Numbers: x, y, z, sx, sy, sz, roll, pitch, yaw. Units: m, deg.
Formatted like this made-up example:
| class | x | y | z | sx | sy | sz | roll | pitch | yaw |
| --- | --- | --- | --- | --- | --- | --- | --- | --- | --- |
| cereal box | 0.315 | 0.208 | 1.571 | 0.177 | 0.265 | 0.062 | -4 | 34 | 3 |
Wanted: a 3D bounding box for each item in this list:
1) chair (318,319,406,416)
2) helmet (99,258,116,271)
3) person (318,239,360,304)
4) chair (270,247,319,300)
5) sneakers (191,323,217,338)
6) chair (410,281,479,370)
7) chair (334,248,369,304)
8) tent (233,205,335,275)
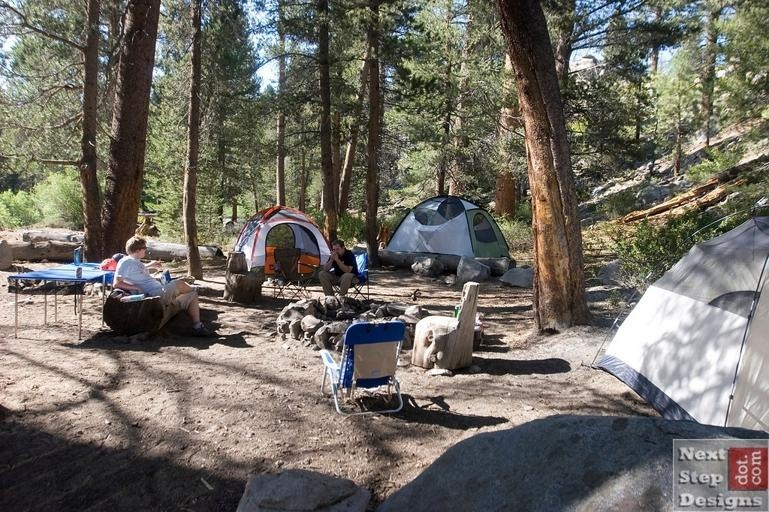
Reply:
| class | x | y | z | sx | sy | sz | roll | pitch | yaw |
| --- | --- | --- | --- | --- | --- | --- | --- | --- | --- |
| chair | -0.348 | 1.500 | 8.495 | 0.996 | 1.361 | 1.730 | 2 | 4 | -18 |
| helmet | -4.713 | 0.166 | 9.774 | 0.160 | 0.139 | 0.238 | 7 | 15 | 3 |
| person | -0.953 | 0.253 | 12.213 | 0.654 | 1.136 | 0.724 | 1 | -1 | 41 |
| chair | -1.953 | 0.416 | 12.373 | 0.771 | 1.052 | 0.701 | -9 | 15 | -34 |
| sneakers | -3.038 | 1.286 | 9.820 | 0.484 | 0.245 | 0.179 | 1 | 2 | -4 |
| chair | 0.994 | 1.100 | 9.373 | 1.008 | 1.346 | 0.834 | 4 | 5 | 27 |
| chair | -0.592 | 0.429 | 12.181 | 0.497 | 0.898 | 0.620 | -2 | 20 | -22 |
| tent | -2.840 | -0.493 | 15.106 | 2.338 | 1.617 | 2.534 | 6 | 7 | 41 |
